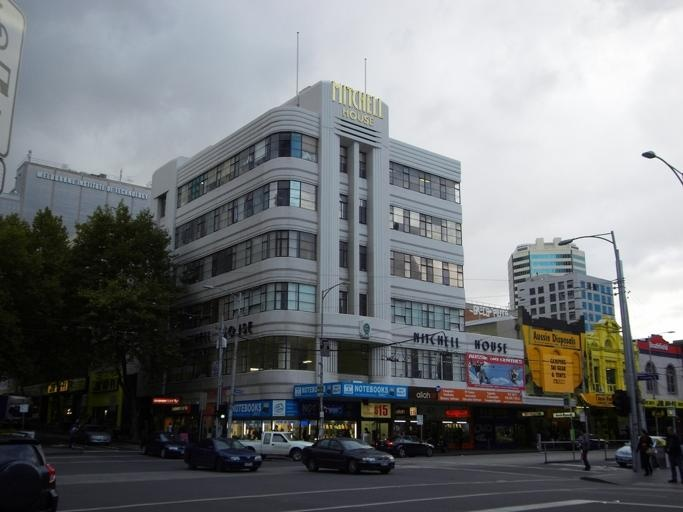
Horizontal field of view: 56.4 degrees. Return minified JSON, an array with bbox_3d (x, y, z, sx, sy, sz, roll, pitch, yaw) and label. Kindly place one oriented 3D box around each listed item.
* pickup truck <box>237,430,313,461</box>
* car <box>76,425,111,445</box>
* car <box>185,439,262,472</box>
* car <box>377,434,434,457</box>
[{"bbox_3d":[-3.905,12.350,39.973,5.773,2.149,2.626,-12,-18,36],"label":"pickup truck"},{"bbox_3d":[-19.535,14.100,50.358,2.648,1.657,1.609,-15,-22,35],"label":"car"},{"bbox_3d":[-5.661,9.358,30.147,3.724,1.462,1.435,-13,-22,32],"label":"car"},{"bbox_3d":[4.928,13.851,46.427,3.624,1.160,1.600,2,-6,-29],"label":"car"}]
